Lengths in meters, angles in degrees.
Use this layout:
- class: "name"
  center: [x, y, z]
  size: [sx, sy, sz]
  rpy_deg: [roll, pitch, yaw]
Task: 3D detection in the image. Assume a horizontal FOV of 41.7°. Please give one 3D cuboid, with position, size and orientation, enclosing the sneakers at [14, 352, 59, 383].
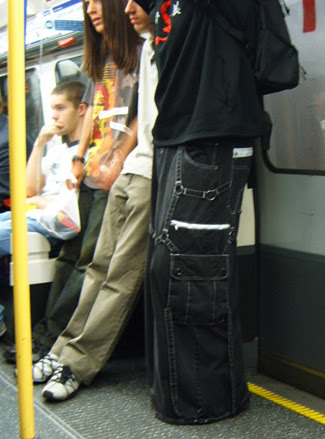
- class: "sneakers"
  center: [-0.588, 0.770, 2.165]
  size: [0.116, 0.169, 0.360]
  rpy_deg: [-7, -16, 12]

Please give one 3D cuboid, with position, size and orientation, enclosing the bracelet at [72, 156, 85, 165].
- class: "bracelet"
  center: [-0.489, -0.353, 2.479]
  size: [0.058, 0.045, 0.056]
  rpy_deg: [8, -5, 45]

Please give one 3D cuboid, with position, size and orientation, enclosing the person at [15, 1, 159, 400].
- class: "person"
  center: [-0.364, -0.243, 2.157]
  size: [0.545, 2.083, 0.662]
  rpy_deg: [0, -1, -19]

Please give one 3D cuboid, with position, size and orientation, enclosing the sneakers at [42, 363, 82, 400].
- class: "sneakers"
  center: [-0.445, 0.742, 1.930]
  size: [0.112, 0.159, 0.341]
  rpy_deg: [-5, -12, 6]
